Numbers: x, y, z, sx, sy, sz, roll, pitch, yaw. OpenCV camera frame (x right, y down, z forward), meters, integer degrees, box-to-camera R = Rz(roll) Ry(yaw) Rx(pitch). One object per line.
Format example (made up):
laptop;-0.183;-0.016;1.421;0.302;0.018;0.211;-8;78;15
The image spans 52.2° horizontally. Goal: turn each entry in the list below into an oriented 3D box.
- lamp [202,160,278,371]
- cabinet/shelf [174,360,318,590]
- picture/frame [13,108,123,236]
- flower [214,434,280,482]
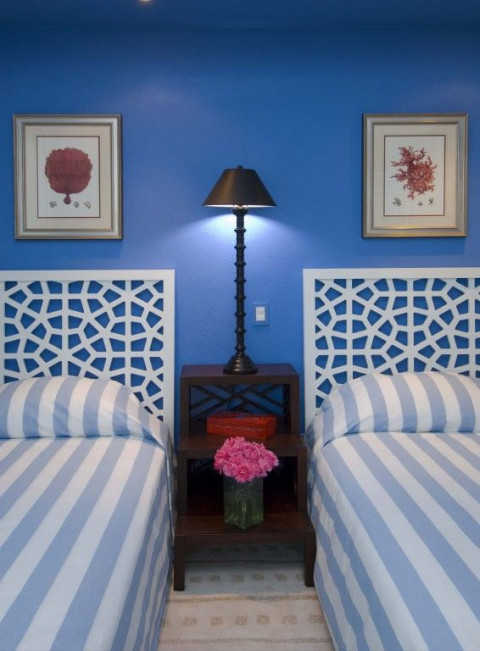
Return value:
lamp;0.000;-0.258;2.145;0.305;0.865;0.374;0;6;1
cabinet/shelf;0.010;0.484;1.972;0.431;0.660;0.831;-1;5;-3
picture/frame;-0.792;-0.717;2.220;0.507;0.644;0.026;0;6;0
flower;0.016;0.467;1.753;0.153;0.132;0.189;0;1;-5
